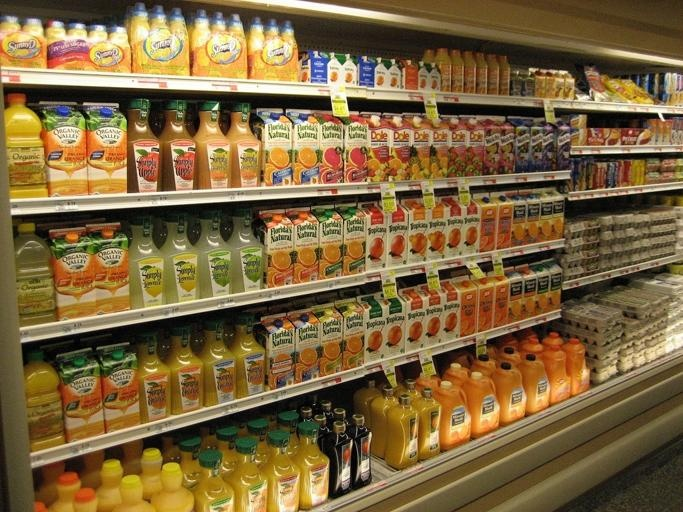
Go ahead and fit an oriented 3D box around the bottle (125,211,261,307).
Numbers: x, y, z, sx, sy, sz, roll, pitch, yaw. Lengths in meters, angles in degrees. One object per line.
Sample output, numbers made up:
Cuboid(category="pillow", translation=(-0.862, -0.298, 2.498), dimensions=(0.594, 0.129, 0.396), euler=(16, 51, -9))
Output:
Cuboid(category="bottle", translation=(-0.738, 0.029, 2.557), dimensions=(0.531, 0.338, 0.166), euler=(-10, 12, -41))
